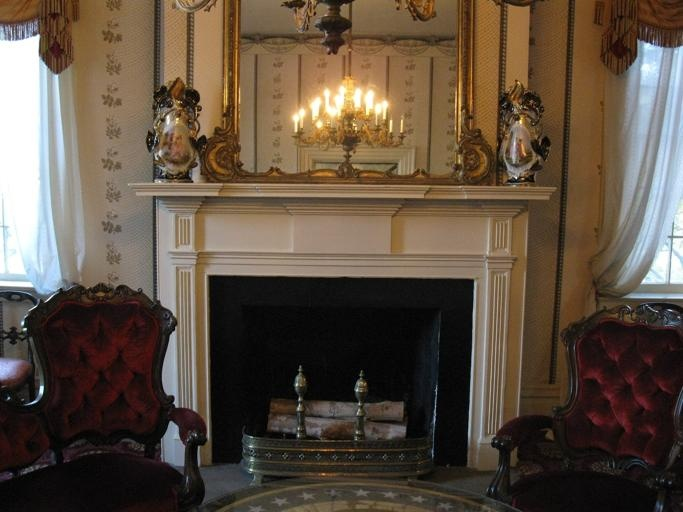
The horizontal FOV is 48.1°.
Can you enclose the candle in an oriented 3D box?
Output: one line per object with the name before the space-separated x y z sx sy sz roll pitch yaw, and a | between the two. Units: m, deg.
candle | 0.011 -0.847 4.329 0.564 0.206 0.025 1 0 -1
